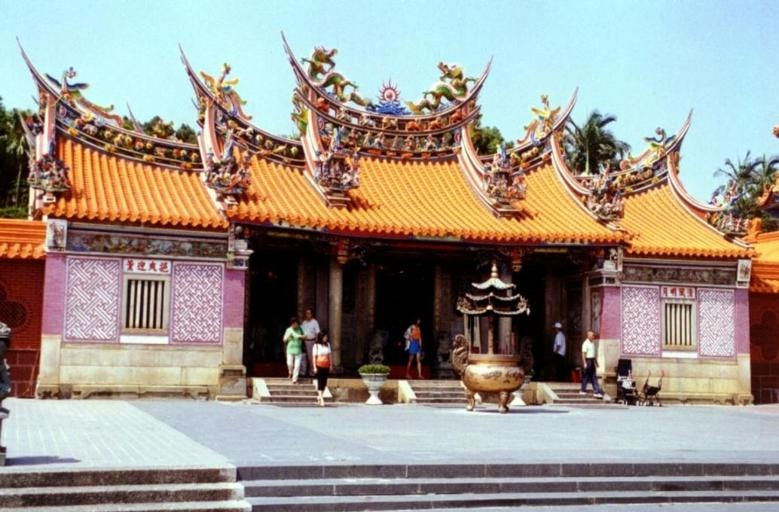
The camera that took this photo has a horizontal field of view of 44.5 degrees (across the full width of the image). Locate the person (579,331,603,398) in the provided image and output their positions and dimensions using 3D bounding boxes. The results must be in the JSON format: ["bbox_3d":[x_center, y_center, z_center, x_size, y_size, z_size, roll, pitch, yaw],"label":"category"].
[{"bbox_3d":[5.164,2.785,24.547,0.587,1.733,1.282,-4,-12,20],"label":"person"}]

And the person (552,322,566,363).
[{"bbox_3d":[4.700,2.309,26.294,0.352,1.158,1.005,-2,-11,9],"label":"person"}]

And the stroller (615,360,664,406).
[{"bbox_3d":[6.618,3.334,24.767,1.366,1.324,1.021,0,-3,2],"label":"stroller"}]

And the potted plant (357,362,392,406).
[{"bbox_3d":[-0.341,3.119,23.448,0.901,0.963,0.922,2,-5,-2],"label":"potted plant"}]

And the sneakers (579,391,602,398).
[{"bbox_3d":[5.156,3.557,24.441,0.582,0.222,0.197,-1,-6,34],"label":"sneakers"}]
